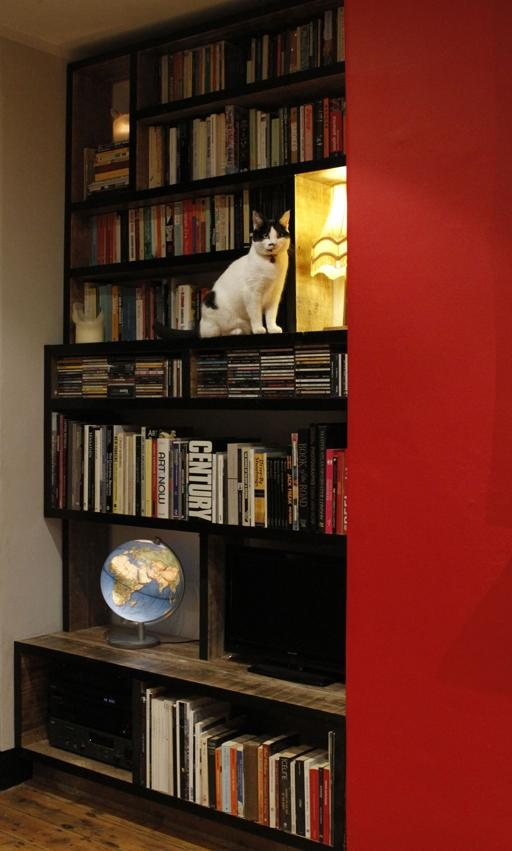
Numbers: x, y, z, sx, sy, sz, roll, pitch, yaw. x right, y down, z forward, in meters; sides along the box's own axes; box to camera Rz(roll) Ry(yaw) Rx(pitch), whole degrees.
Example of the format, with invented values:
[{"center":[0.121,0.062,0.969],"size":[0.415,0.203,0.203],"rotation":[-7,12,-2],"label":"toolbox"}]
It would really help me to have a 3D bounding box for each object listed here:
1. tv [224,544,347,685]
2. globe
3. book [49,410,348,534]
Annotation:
[{"center":[0.078,0.547,2.673],"size":[0.073,0.358,0.470],"rotation":[-1,3,-42],"label":"tv"},{"center":[-0.371,0.541,3.077],"size":[0.284,0.433,0.298],"rotation":[6,5,28],"label":"globe"},{"center":[-0.214,0.150,2.837],"size":[1.294,0.365,0.144],"rotation":[4,3,41],"label":"book"}]
